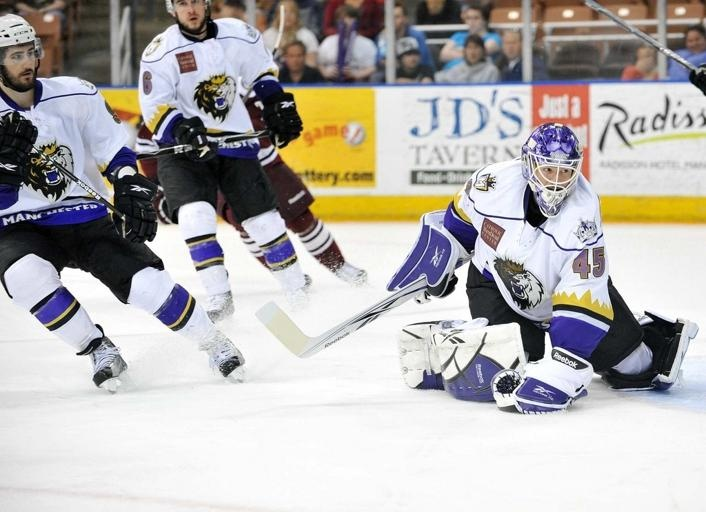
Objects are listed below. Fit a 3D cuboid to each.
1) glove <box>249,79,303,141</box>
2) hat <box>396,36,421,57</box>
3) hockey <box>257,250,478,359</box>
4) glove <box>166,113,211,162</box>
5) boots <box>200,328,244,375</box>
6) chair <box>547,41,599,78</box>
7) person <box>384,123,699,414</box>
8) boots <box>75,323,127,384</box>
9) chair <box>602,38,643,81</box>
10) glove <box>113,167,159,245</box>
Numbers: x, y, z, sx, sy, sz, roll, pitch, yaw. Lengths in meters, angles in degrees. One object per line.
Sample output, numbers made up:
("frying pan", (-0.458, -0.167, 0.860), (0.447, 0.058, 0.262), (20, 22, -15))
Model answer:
("glove", (-0.413, -0.779, 4.753), (0.208, 0.358, 0.151), (-19, -12, -44))
("hat", (0.505, -1.868, 7.822), (0.178, 0.137, 0.128), (-11, 11, -6))
("hockey", (0.068, 0.254, 4.415), (0.804, 0.240, 0.132), (-31, 15, -16))
("glove", (-0.798, -0.597, 4.376), (0.165, 0.221, 0.106), (-36, -1, -8))
("boots", (-0.591, 0.402, 3.893), (0.127, 0.108, 0.293), (35, 9, -37))
("chair", (1.965, -1.731, 7.843), (0.355, 0.412, 0.338), (2, 14, 8))
("person", (0.938, -0.021, 3.950), (0.875, 1.117, 1.402), (6, 13, 37))
("boots", (-1.061, 0.448, 3.787), (0.152, 0.119, 0.328), (36, 12, -26))
("chair", (2.358, -1.747, 7.853), (0.337, 0.322, 0.391), (0, -3, 9))
("glove", (-0.935, -0.226, 3.747), (0.202, 0.303, 0.079), (-8, -10, -43))
